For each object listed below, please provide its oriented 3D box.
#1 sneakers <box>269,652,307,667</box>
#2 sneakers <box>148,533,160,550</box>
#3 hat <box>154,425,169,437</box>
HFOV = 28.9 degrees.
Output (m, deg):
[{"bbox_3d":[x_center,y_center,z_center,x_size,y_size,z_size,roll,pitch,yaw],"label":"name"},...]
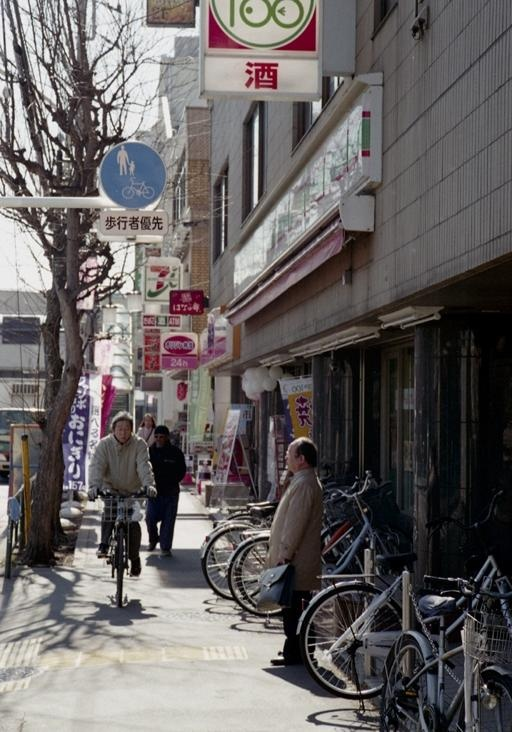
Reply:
[{"bbox_3d":[0.217,1.915,6.594,0.238,0.136,0.087,-3,-3,-6],"label":"sneakers"},{"bbox_3d":[-1.221,2.135,11.942,0.078,0.163,0.282,1,-10,-1],"label":"sneakers"},{"bbox_3d":[-1.088,0.763,11.518,0.103,0.145,0.135,18,-7,-1],"label":"hat"}]
